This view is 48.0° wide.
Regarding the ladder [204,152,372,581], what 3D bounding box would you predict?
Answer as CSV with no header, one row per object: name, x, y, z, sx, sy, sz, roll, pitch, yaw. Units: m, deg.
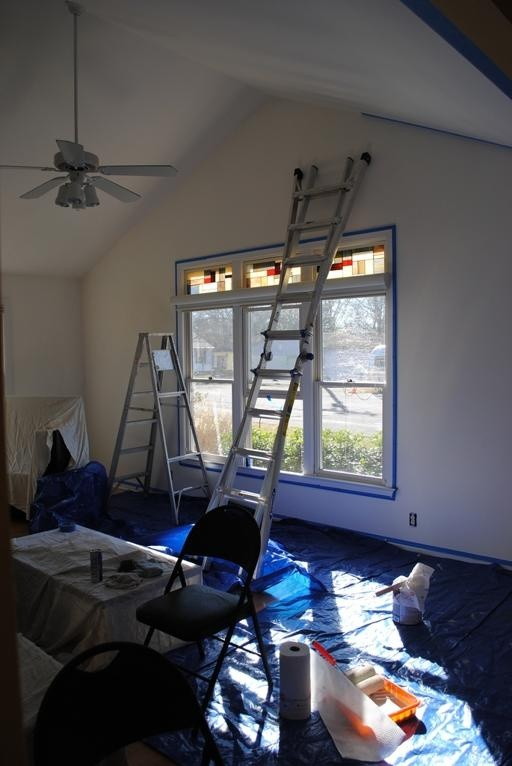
ladder,-0.047,-0.235,4.016,1.325,2.633,1.266,2,6,45
